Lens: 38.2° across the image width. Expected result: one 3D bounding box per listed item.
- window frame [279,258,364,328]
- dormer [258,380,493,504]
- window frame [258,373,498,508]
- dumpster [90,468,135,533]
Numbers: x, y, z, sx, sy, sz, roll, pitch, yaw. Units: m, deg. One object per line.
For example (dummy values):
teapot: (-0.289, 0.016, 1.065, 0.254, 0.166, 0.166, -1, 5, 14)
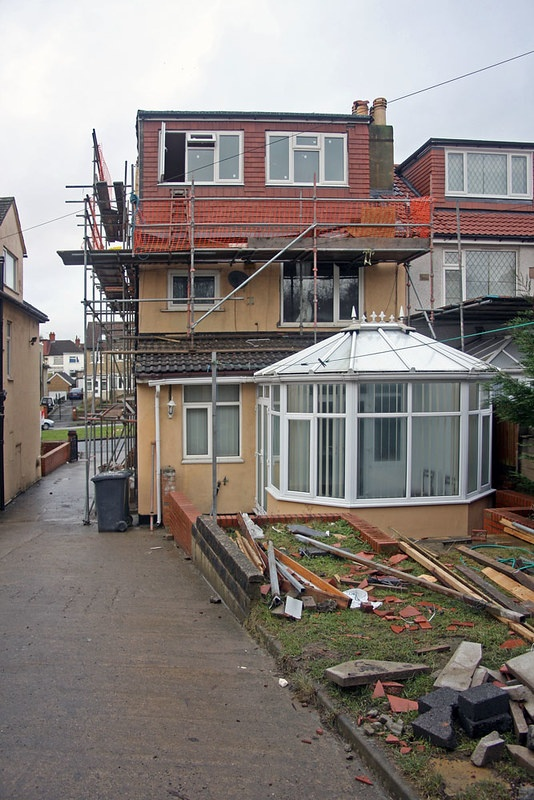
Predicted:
window frame: (1.120, -2.448, 17.211, 1.387, 1.418, 0.069, -1, 1, -18)
dormer: (1.660, 0.615, 12.555, 2.341, 1.721, 2.015, -1, 3, -7)
window frame: (1.739, 0.642, 12.503, 2.303, 1.607, 2.069, -1, -1, 2)
dumpster: (-2.984, 1.953, 14.749, 0.721, 1.466, 1.018, -1, 2, -5)
